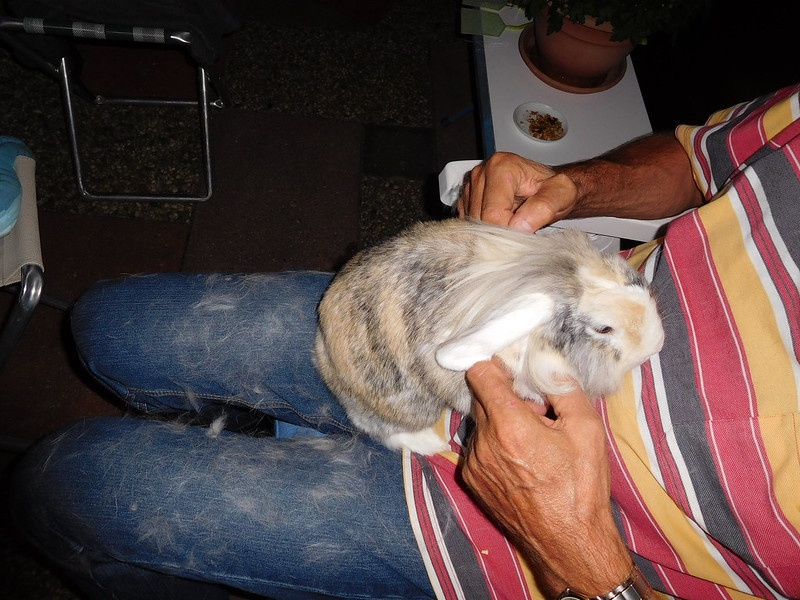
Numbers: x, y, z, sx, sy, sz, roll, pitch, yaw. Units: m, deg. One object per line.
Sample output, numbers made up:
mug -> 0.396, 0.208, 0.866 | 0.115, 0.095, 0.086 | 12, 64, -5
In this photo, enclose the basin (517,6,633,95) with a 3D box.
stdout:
basin -> 0.728, -1.046, 2.706 | 0.349, 0.254, 0.368 | 2, 63, -3
